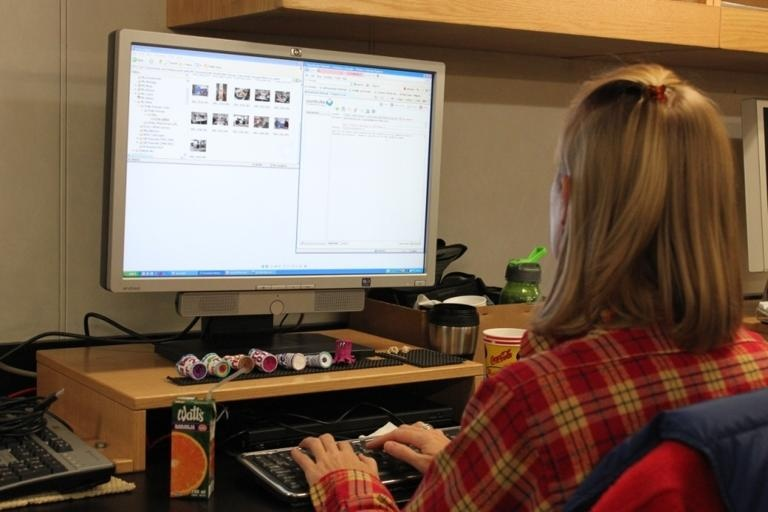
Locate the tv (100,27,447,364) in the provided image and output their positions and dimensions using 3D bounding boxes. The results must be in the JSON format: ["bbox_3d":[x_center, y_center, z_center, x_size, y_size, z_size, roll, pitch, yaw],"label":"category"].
[{"bbox_3d":[-0.286,-0.146,1.548,0.941,0.748,0.269,0,-2,-24],"label":"tv"}]

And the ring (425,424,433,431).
[{"bbox_3d":[0.095,0.362,1.338,0.013,0.003,0.013,14,1,0],"label":"ring"}]

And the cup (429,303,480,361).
[{"bbox_3d":[0.180,0.191,1.619,0.142,0.116,0.136,2,0,0],"label":"cup"}]

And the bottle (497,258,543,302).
[{"bbox_3d":[0.396,0.068,1.853,0.120,0.158,0.115,0,5,0],"label":"bottle"}]
